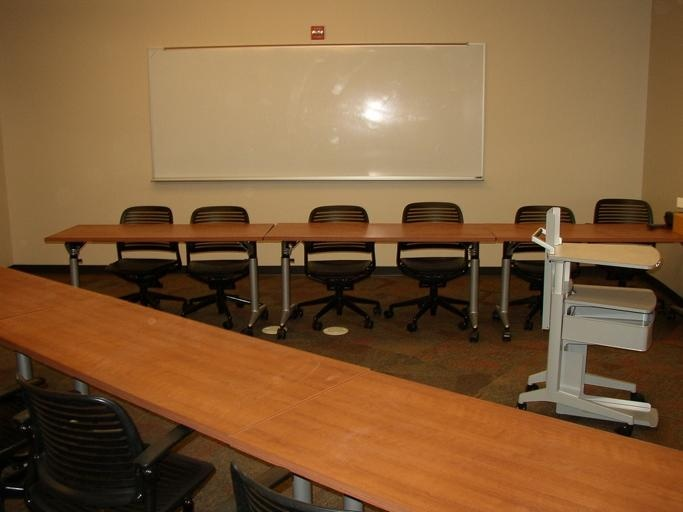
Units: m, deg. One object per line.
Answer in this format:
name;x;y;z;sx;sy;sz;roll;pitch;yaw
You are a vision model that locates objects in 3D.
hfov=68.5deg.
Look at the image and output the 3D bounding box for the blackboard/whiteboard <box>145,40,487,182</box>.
blackboard/whiteboard;-0.252;-1.734;6.102;3.893;1.586;0.143;0;8;2
